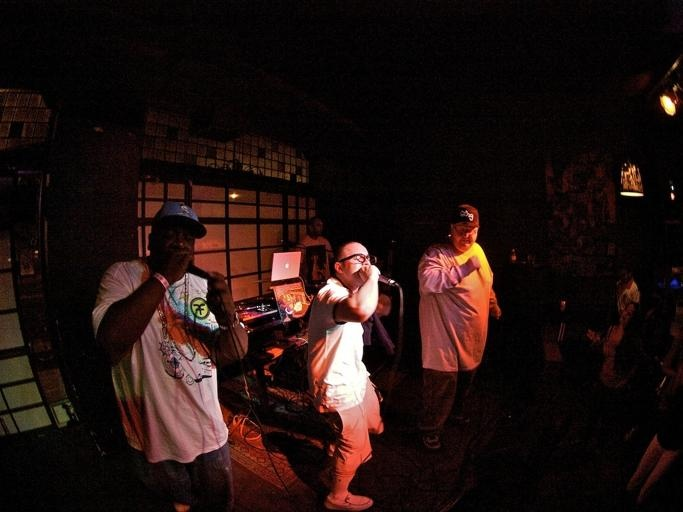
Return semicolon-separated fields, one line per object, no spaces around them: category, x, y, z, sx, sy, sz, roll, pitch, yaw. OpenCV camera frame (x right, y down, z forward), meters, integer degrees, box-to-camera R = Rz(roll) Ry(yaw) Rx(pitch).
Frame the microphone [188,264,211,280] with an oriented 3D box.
microphone;-1.465;0.164;4.854;0.227;0.093;0.093;25;-1;21

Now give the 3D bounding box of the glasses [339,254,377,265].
glasses;0.164;0.031;5.053;0.197;0.059;0.199;-10;-14;29

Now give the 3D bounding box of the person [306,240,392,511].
person;0.079;1.338;5.028;0.800;2.982;0.767;1;1;-20

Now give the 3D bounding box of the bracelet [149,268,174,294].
bracelet;-1.631;0.223;4.373;0.170;0.172;0.120;-10;20;43

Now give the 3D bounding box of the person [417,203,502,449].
person;1.414;0.882;6.056;0.932;3.056;0.531;1;1;-3

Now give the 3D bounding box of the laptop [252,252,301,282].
laptop;-0.848;0.052;6.537;0.373;0.372;0.546;5;6;40
